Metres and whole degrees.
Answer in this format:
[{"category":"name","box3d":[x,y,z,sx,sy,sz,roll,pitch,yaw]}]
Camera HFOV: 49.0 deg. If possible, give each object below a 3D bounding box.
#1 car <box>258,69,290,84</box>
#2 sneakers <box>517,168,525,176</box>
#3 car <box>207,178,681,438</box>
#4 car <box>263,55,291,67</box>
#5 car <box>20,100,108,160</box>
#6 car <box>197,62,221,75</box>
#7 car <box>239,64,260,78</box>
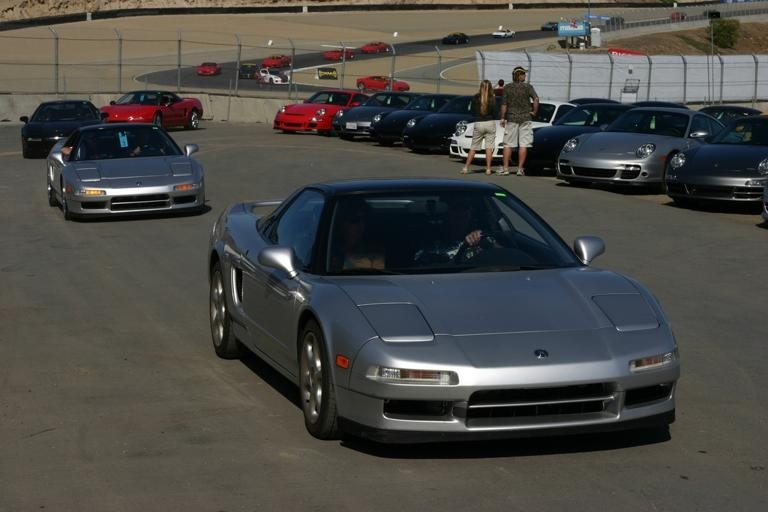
[{"category":"car","box3d":[-8.220,-13.367,62.602,2.232,1.067,2.864,-4,13,-16]},{"category":"sneakers","box3d":[3.054,-1.895,18.861,0.112,0.117,0.292,1,-4,6]},{"category":"car","box3d":[0.127,0.314,6.795,1.913,0.992,3.187,-1,2,-20]},{"category":"car","box3d":[-9.388,-16.856,72.888,2.224,1.018,1.675,-4,14,-16]},{"category":"car","box3d":[-8.935,-3.725,23.109,2.136,1.079,3.715,-1,3,-5]},{"category":"car","box3d":[-14.160,-15.086,67.982,1.617,1.003,1.542,-1,13,-4]},{"category":"car","box3d":[-10.394,-14.272,65.529,1.081,1.034,2.509,-12,18,-42]}]
